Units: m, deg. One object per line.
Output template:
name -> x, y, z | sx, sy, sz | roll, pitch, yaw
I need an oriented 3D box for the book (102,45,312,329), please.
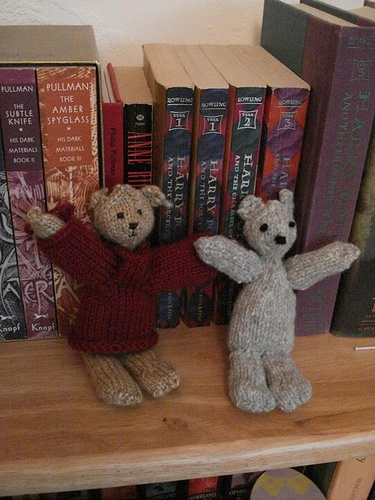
book -> -0.008, -0.143, 0.742 | 0.347, 0.416, 0.310 | -6, 36, -11

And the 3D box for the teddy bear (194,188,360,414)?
teddy bear -> 0.106, 0.057, 0.545 | 0.270, 0.277, 0.121 | -3, 10, -18

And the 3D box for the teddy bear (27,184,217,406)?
teddy bear -> -0.077, 0.048, 0.527 | 0.240, 0.205, 0.158 | 6, 15, -7
